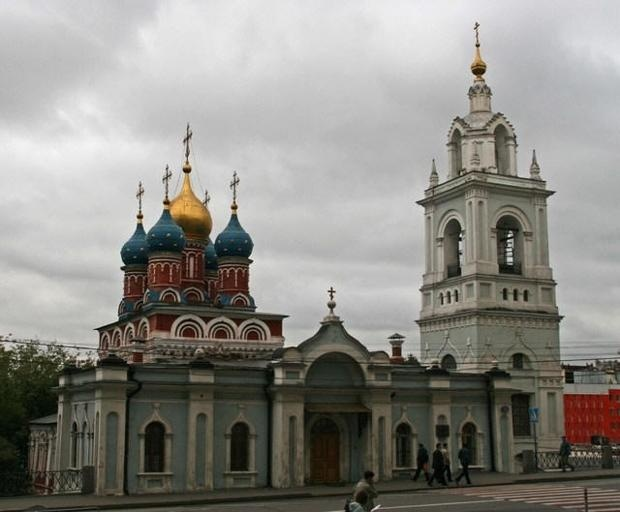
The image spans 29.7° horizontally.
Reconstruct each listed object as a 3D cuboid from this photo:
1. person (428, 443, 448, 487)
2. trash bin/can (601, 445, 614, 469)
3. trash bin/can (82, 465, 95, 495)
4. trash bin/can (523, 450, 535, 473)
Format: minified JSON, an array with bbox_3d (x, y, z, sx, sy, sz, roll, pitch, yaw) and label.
[{"bbox_3d":[5.631,9.164,52.027,0.774,1.932,1.355,-2,-15,6],"label":"person"},{"bbox_3d":[14.537,9.768,57.472,0.573,1.232,1.493,-4,-15,13],"label":"trash bin/can"},{"bbox_3d":[-9.368,9.355,49.321,0.605,1.119,0.488,0,-15,-2],"label":"trash bin/can"},{"bbox_3d":[10.414,9.733,55.851,0.630,1.185,1.349,-4,-15,10],"label":"trash bin/can"}]
